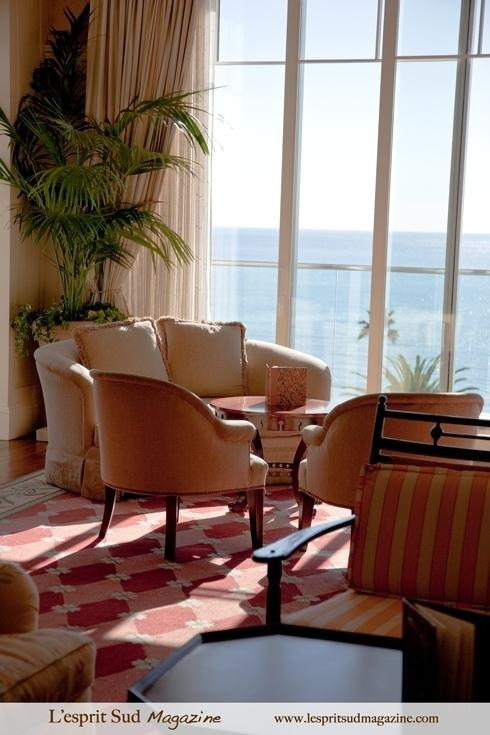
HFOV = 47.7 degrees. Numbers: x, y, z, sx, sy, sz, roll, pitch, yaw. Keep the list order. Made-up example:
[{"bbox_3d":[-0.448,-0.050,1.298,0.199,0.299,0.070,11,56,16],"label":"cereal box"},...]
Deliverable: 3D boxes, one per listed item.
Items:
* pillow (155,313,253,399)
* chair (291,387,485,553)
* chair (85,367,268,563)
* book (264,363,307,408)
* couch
[{"bbox_3d":[-0.287,-0.060,3.866,0.551,0.539,0.193,4,-19,-22],"label":"pillow"},{"bbox_3d":[0.496,0.413,2.657,0.729,0.923,0.823,-1,9,-19],"label":"chair"},{"bbox_3d":[-0.329,0.453,2.782,0.770,0.822,0.797,1,-1,24],"label":"chair"},{"bbox_3d":[0.228,0.104,3.203,0.269,0.280,0.205,0,2,-4],"label":"book"},{"bbox_3d":[-0.384,0.247,3.839,1.915,1.139,1.089,0,-4,-34],"label":"couch"}]
